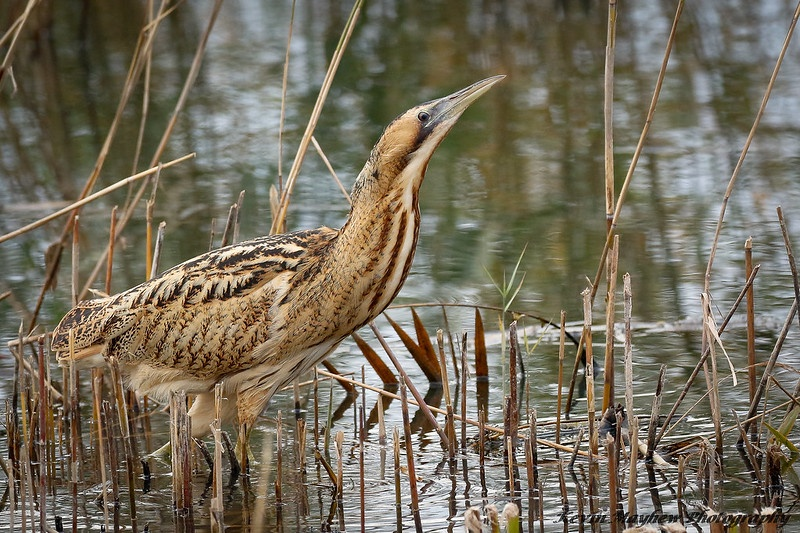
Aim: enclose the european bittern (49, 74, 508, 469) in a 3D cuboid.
[{"bbox_3d":[-0.571,0.045,4.744,1.969,1.495,0.370,-5,-15,19],"label":"european bittern"}]
